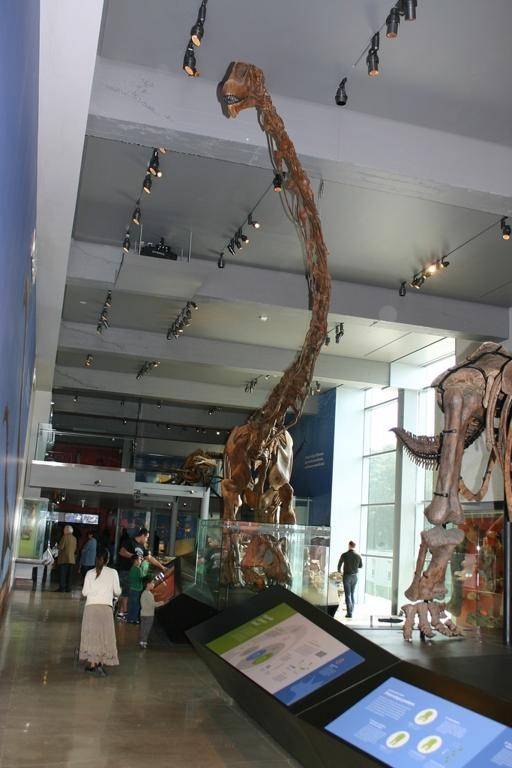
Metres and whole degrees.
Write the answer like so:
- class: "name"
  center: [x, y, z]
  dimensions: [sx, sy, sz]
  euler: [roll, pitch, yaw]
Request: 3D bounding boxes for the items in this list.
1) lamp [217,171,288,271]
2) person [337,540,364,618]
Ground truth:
- class: "lamp"
  center: [-0.063, -1.991, 6.501]
  dimensions: [0.259, 0.188, 1.697]
  euler: [12, -33, -22]
- class: "person"
  center: [1.786, 3.761, 10.265]
  dimensions: [0.437, 1.571, 1.901]
  euler: [2, -10, 10]
